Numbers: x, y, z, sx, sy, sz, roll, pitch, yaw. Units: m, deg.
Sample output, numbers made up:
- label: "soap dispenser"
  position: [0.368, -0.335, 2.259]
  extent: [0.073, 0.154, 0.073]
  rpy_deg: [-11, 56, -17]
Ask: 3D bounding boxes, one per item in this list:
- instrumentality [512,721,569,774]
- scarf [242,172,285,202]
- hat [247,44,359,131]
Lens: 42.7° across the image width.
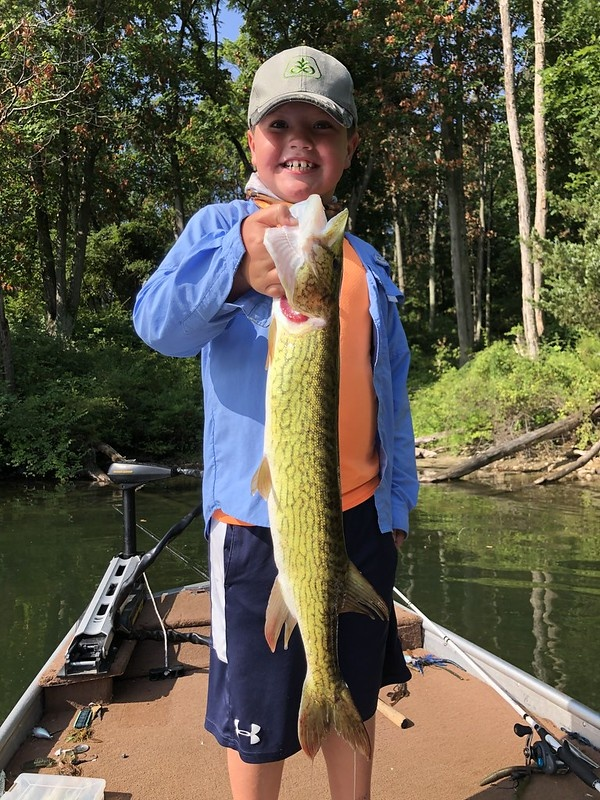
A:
- label: "instrumentality"
  position: [1.086, 1.590, 3.495]
  extent: [0.156, 0.140, 0.349]
  rpy_deg: [-1, 4, -7]
- label: "scarf"
  position: [-0.122, -0.642, 2.300]
  extent: [0.124, 0.086, 0.054]
  rpy_deg: [15, 38, 27]
- label: "hat"
  position: [0.011, -0.939, 2.311]
  extent: [0.229, 0.173, 0.324]
  rpy_deg: [2, -2, 2]
